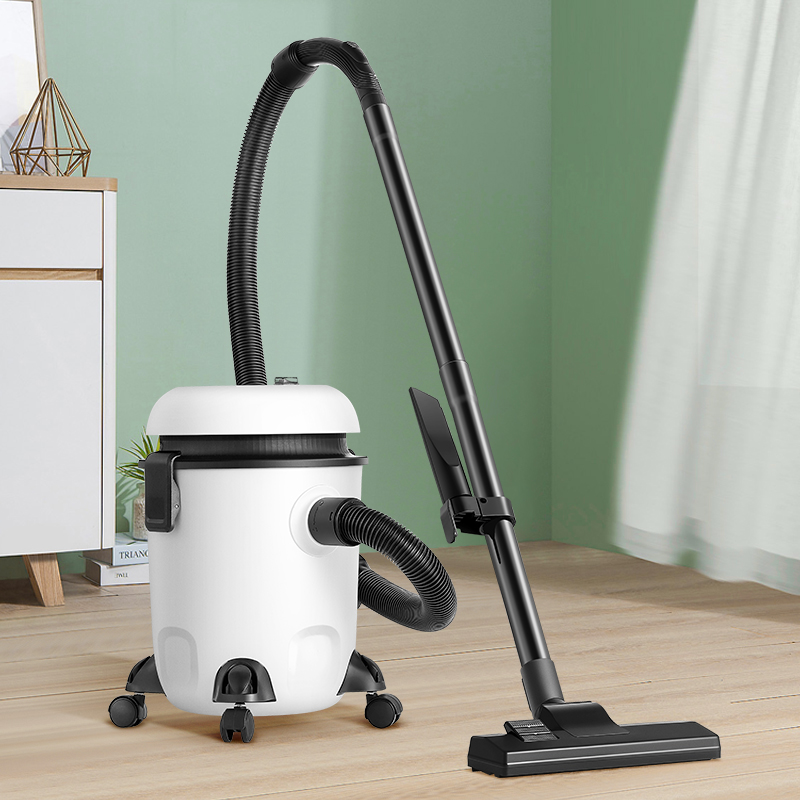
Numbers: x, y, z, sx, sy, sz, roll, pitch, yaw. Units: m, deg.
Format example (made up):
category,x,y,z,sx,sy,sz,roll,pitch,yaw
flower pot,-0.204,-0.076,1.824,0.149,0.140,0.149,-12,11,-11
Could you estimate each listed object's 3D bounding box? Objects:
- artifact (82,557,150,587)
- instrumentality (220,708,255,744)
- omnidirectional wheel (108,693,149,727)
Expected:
category,x,y,z,sx,sy,sz,roll,pitch,yaw
artifact,-0.662,0.404,2.132,0.126,0.027,0.115,2,0,-29
instrumentality,-0.191,0.382,1.077,0.040,0.051,0.063,0,-1,-11
omnidirectional wheel,-0.338,0.389,1.140,0.048,0.042,0.024,8,-1,-6
